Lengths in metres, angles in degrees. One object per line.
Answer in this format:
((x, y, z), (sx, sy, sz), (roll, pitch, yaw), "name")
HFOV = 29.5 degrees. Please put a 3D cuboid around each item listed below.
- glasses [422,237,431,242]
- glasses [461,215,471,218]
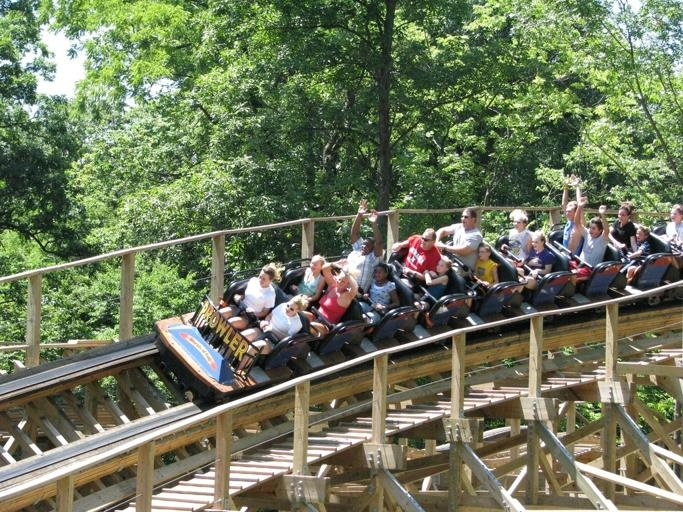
((1.362, -0.260, 20.982), (0.070, 0.053, 0.200), (-7, 1, -25), "glasses")
((2.059, -0.639, 21.429), (0.080, 0.023, 0.083), (-1, -10, 41), "glasses")
